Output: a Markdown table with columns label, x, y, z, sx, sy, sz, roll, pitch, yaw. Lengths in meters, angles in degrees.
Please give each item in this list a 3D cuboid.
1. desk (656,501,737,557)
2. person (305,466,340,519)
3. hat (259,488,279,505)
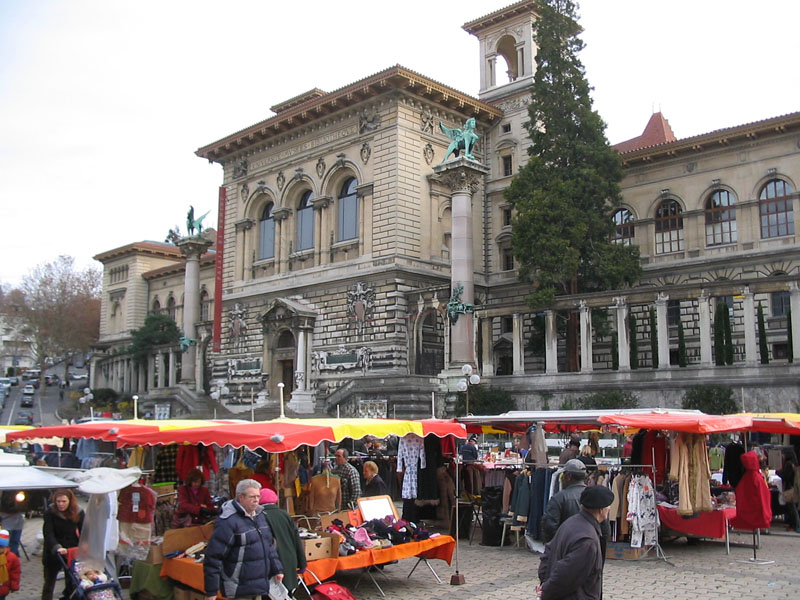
| label | x | y | z | sx | sy | sz | roll | pitch | yaw |
| --- | --- | --- | --- | --- | --- | --- | --- | --- | --- |
| desk | 6.248 | 4.683 | 17.448 | 1.530 | 1.012 | 1.433 | -6 | -13 | 20 |
| person | -1.508 | 3.731 | 16.235 | 0.805 | 1.184 | 0.412 | 1 | -8 | -3 |
| hat | -1.993 | 2.890 | 12.503 | 0.225 | 0.251 | 0.300 | -2 | -6 | -36 |
